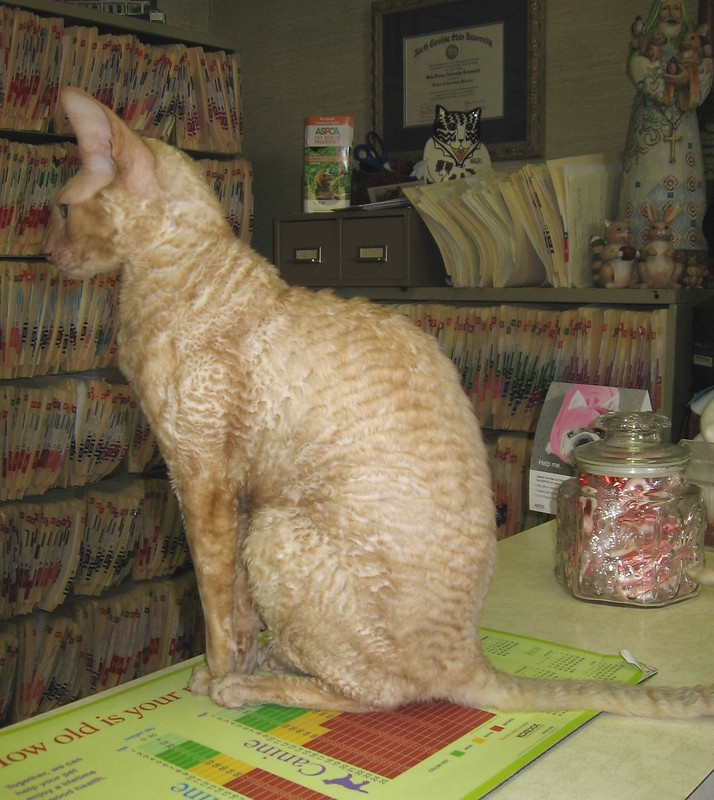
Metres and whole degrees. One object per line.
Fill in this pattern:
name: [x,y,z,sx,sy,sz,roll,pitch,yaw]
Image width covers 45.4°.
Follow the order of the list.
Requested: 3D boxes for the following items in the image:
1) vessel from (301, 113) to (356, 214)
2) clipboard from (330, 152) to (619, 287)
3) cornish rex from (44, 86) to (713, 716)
vessel: [-0.025,-0.764,2.759,0.251,0.293,0.204,-9,23,-22]
clipboard: [0.301,-0.442,2.116,0.523,0.183,0.351,-12,-10,-10]
cornish rex: [-0.005,0.000,0.806,0.592,0.561,0.158,-1,7,4]
